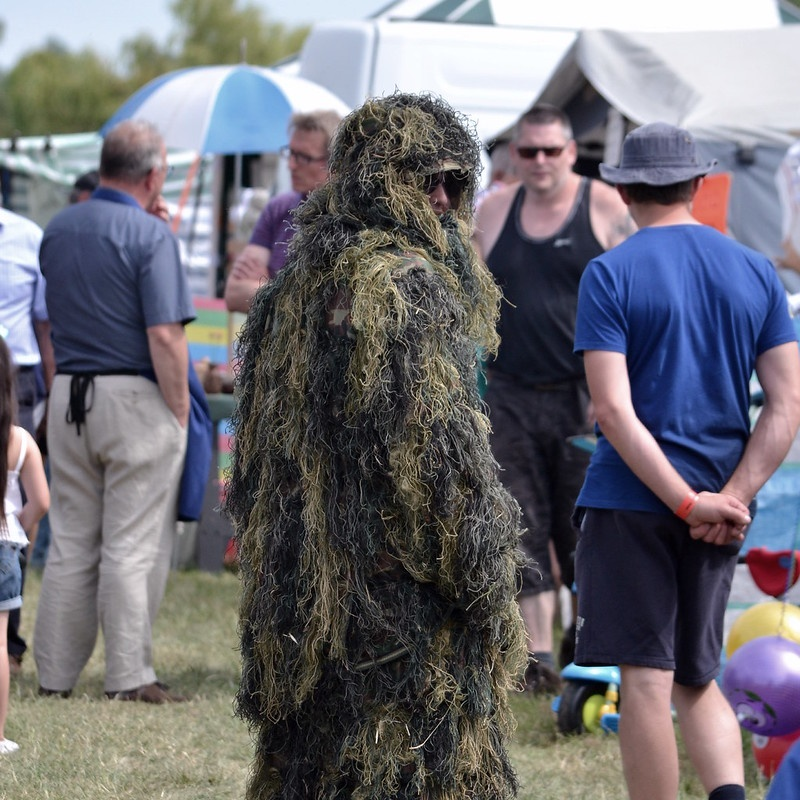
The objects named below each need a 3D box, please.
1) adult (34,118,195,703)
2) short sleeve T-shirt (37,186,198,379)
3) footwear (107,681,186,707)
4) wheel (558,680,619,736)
[{"bbox_3d":[-1.098,0.044,7.736,0.661,2.281,0.560,3,4,25],"label":"adult"},{"bbox_3d":[-1.146,-0.435,7.679,0.757,0.721,0.398,4,2,33],"label":"short sleeve T-shirt"},{"bbox_3d":[-0.978,1.149,7.534,0.320,0.153,0.112,0,-4,0],"label":"footwear"},{"bbox_3d":[0.748,1.179,7.317,0.200,0.216,0.098,-7,-1,28],"label":"wheel"}]
